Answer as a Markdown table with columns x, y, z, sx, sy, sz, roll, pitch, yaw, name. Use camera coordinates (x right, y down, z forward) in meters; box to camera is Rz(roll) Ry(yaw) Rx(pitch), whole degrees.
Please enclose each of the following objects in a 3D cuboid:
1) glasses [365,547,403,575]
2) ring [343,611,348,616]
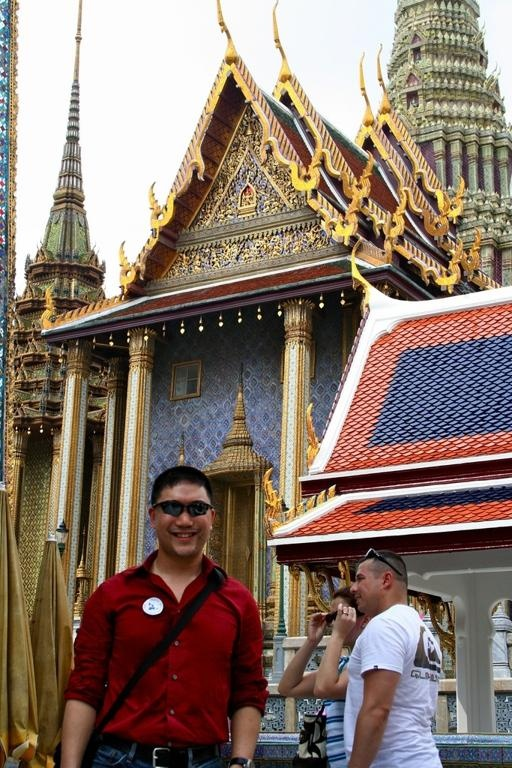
| x | y | z | sx | sy | sz | roll | pitch | yaw | name |
| --- | --- | --- | --- | --- | --- | --- | --- | --- | --- |
| 0.325 | 0.449 | 2.849 | 0.070 | 0.022 | 0.070 | 25 | -27 | -4 | glasses |
| 0.248 | 0.634 | 3.117 | 0.008 | 0.008 | 0.015 | -2 | -8 | 20 | ring |
